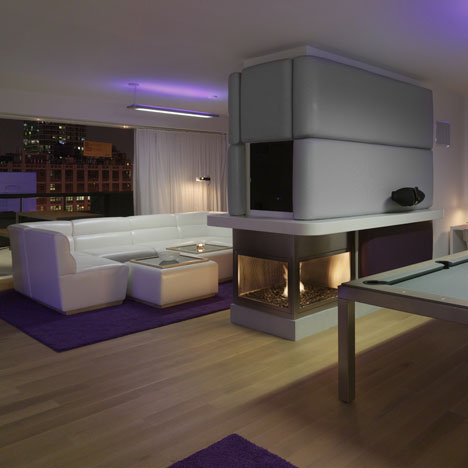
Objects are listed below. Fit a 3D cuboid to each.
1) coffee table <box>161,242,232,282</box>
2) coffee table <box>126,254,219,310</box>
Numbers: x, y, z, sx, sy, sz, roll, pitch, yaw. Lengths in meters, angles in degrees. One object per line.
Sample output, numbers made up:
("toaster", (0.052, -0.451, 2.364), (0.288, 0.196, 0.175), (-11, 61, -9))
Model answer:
("coffee table", (-0.330, 0.304, 5.278), (0.645, 0.406, 0.636), (-4, 7, -29))
("coffee table", (-0.801, 0.498, 4.338), (0.596, 0.486, 0.846), (4, 7, 43))
